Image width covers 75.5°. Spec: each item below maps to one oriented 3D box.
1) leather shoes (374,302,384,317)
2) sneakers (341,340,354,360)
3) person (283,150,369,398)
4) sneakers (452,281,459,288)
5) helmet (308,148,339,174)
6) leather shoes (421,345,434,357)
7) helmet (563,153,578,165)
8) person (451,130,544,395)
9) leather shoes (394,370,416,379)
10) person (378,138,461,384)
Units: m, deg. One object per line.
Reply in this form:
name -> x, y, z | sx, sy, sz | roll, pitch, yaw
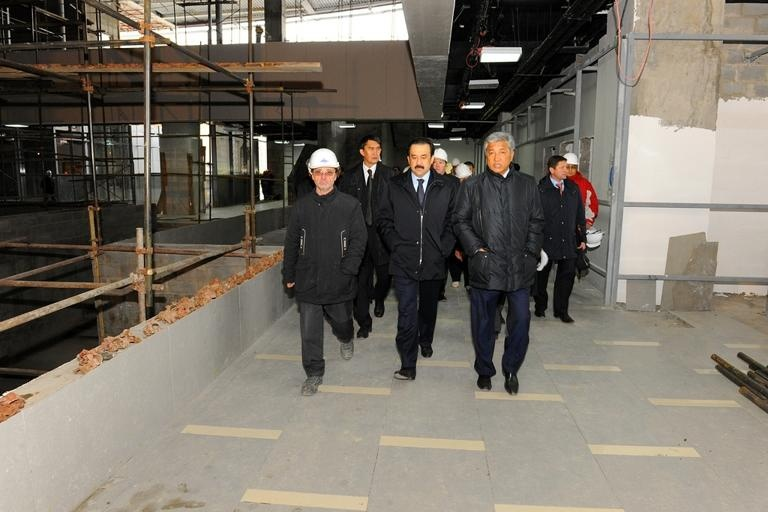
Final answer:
leather shoes -> -0.077, 0.766, 7.027 | 0.155, 0.172, 0.420 | 0, -7, 0
sneakers -> -0.432, 1.071, 5.611 | 0.108, 0.250, 0.098 | -2, 4, 3
person -> -0.592, 0.115, 5.061 | 0.837, 2.366, 0.748 | -5, 13, -22
sneakers -> 1.239, 0.500, 8.686 | 0.079, 0.095, 0.241 | -2, -6, 10
helmet -> -0.612, -0.955, 4.947 | 0.285, 0.225, 0.216 | -2, 12, -8
leather shoes -> 0.484, 1.099, 5.722 | 0.116, 0.117, 0.131 | 2, 3, -21
helmet -> 2.667, -1.383, 7.100 | 0.182, 0.133, 0.257 | 6, 17, 19
person -> 1.098, 0.072, 4.938 | 0.851, 2.538, 0.530 | 4, 13, 17
leather shoes -> 0.217, 1.250, 5.243 | 0.193, 0.135, 0.099 | 4, 3, 9
person -> 0.366, 0.016, 5.284 | 0.786, 2.456, 0.727 | -3, 13, -10
